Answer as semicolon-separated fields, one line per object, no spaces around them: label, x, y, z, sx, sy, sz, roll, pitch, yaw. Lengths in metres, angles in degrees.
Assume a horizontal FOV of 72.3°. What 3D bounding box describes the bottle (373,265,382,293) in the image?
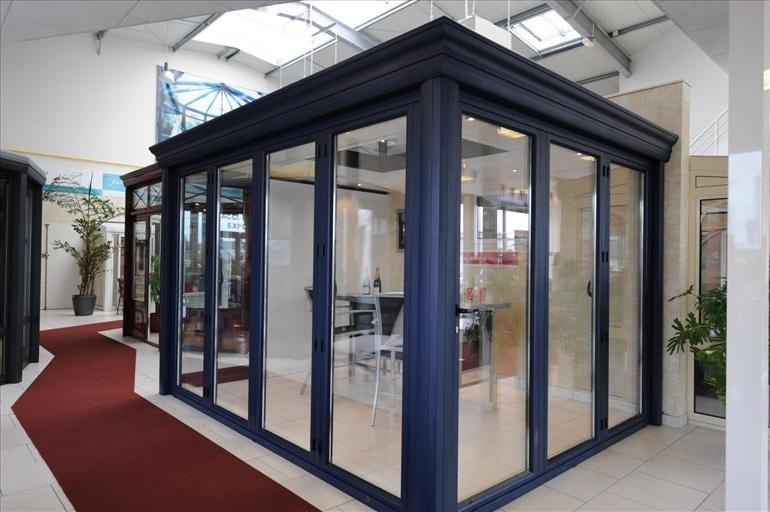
bottle;-0.066;0.211;4.628;0.089;0.234;0.020;10;13;44

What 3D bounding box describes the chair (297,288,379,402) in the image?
chair;-0.398;0.747;4.723;0.667;0.945;0.608;1;-4;-20

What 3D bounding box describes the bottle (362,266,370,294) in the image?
bottle;-0.170;0.221;4.696;0.094;0.244;0.014;7;11;33
